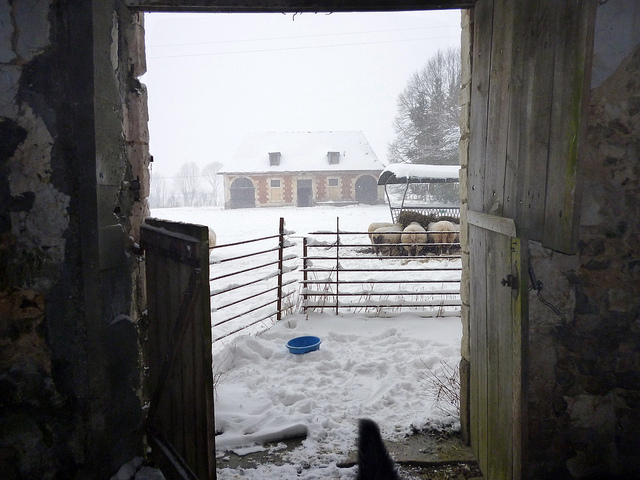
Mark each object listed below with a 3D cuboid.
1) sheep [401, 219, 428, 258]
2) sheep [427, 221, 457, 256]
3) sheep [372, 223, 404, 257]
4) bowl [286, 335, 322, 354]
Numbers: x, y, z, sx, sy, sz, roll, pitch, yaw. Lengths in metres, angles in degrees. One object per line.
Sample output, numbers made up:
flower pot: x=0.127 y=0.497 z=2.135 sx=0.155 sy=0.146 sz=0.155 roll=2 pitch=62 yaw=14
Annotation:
sheep: x=1.678 y=0.006 z=10.871 sx=0.466 sy=0.524 sz=1.822 roll=1 pitch=14 yaw=9
sheep: x=2.229 y=-0.119 z=11.291 sx=0.291 sy=0.649 sz=1.060 roll=0 pitch=7 yaw=6
sheep: x=1.246 y=-0.020 z=11.145 sx=0.601 sy=0.591 sz=1.501 roll=0 pitch=13 yaw=6
bowl: x=-0.155 y=0.995 z=5.825 sx=0.335 sy=0.070 sz=0.288 roll=-5 pitch=14 yaw=-17
